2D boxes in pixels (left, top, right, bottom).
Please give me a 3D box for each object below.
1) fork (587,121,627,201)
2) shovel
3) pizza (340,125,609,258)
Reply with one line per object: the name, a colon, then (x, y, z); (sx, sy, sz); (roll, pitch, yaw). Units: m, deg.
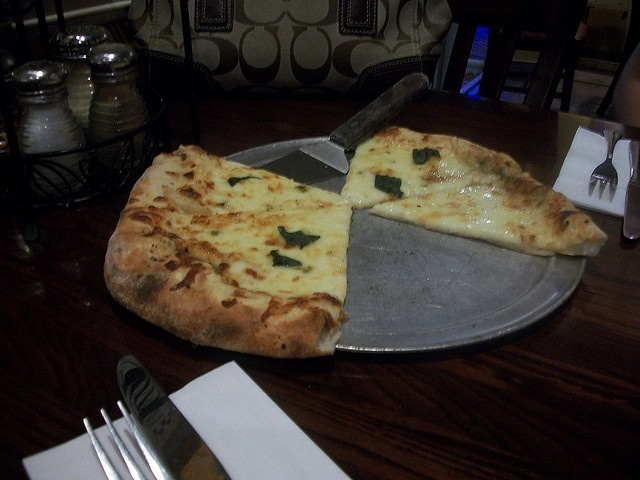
fork: (0.722, -0.245, 1.215); (0.086, 0.020, 0.373); (6, 42, 22)
shovel: (0.087, -0.265, 1.300); (0.191, 0.056, 0.637); (39, 58, 21)
pizza: (0.313, -0.107, 1.142); (0.477, 0.078, 0.291); (18, 44, 19)
